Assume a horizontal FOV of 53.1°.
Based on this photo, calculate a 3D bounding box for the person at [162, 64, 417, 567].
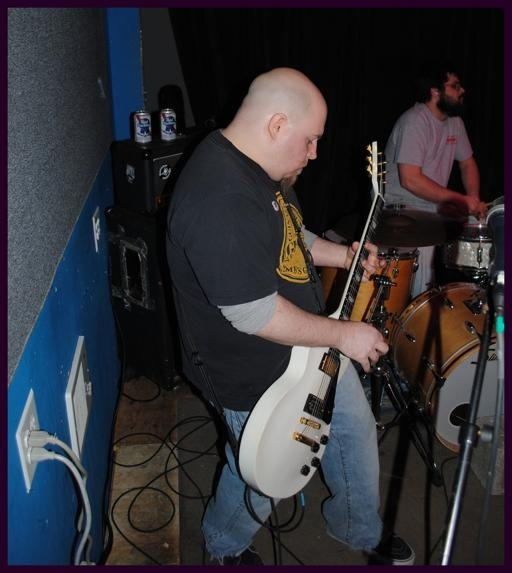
[{"bbox_3d":[0.094,0.236,1.618,0.726,1.705,0.451,-8,21,-23],"label":"person"}]

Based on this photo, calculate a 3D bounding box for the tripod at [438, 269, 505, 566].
[{"bbox_3d":[0.680,0.429,1.633,0.077,0.202,1.212,3,61,30],"label":"tripod"}]

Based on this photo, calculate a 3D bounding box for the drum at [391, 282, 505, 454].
[{"bbox_3d":[0.897,0.334,2.323,0.459,0.651,0.369,-21,39,-22],"label":"drum"}]

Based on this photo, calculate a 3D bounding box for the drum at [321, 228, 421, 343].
[{"bbox_3d":[0.485,-0.008,2.081,0.283,0.372,0.338,-9,39,-18],"label":"drum"}]

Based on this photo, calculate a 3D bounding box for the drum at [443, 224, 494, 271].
[{"bbox_3d":[1.018,-0.187,2.459,0.204,0.210,0.245,0,7,-1],"label":"drum"}]

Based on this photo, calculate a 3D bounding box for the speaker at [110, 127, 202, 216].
[{"bbox_3d":[-0.489,-0.681,2.521,0.283,0.400,0.496,24,36,30],"label":"speaker"}]

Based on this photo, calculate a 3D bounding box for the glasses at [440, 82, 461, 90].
[{"bbox_3d":[1.097,-1.136,2.897,0.075,0.037,0.067,-8,18,-8],"label":"glasses"}]
